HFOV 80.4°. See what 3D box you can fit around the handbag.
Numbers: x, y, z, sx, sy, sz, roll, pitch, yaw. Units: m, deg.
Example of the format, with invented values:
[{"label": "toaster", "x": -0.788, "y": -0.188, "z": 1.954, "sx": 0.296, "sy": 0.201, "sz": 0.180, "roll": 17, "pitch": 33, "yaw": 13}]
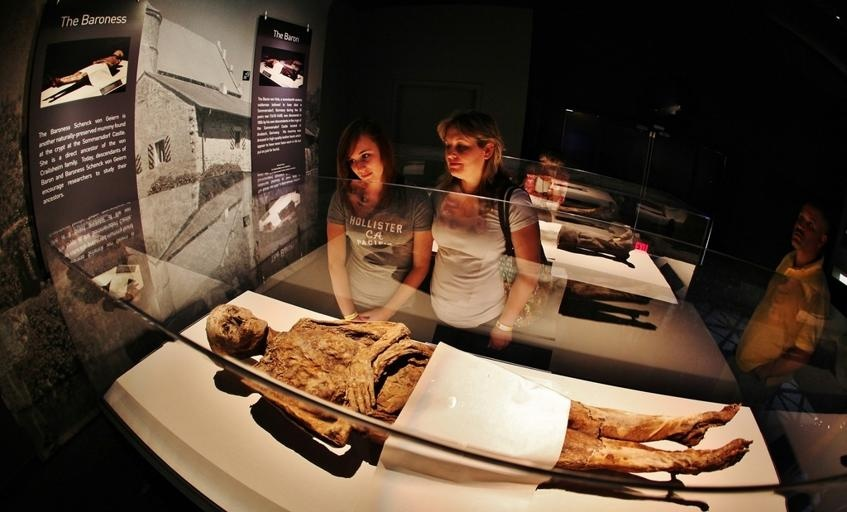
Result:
[{"label": "handbag", "x": 0.322, "y": -0.022, "z": 1.633, "sx": 0.144, "sy": 0.396, "sz": 0.237, "roll": -3, "pitch": 24, "yaw": -24}]
